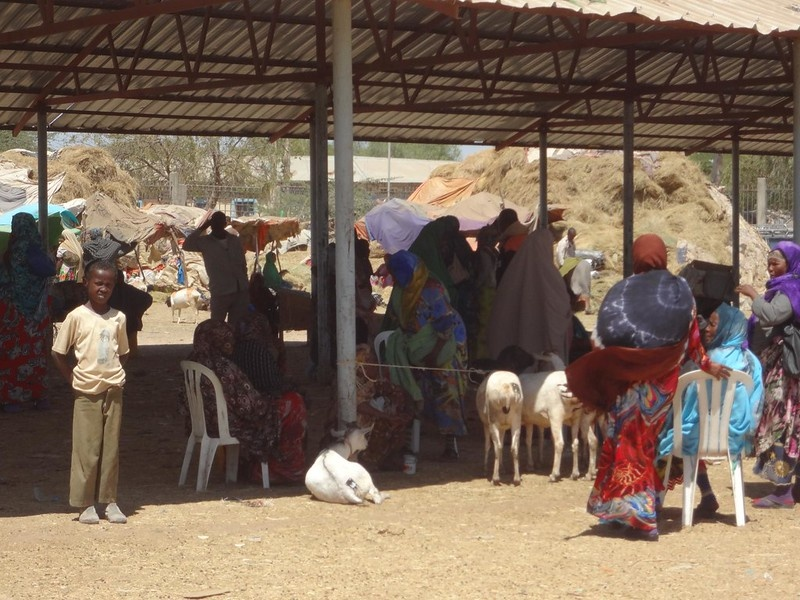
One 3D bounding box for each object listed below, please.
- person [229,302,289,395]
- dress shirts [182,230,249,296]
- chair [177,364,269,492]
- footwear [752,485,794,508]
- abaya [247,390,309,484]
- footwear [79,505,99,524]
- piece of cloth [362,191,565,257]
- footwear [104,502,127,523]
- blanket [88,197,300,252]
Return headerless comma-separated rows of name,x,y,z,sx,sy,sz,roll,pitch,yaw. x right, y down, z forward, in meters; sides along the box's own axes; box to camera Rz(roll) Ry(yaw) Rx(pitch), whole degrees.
person,-1.595,0.460,14.332,0.458,1.484,0.444,4,36,8
dress shirts,-2.518,-0.513,17.981,0.924,1.017,0.536,-5,-15,-34
chair,-1.961,1.355,13.823,0.905,1.417,0.574,-3,13,-13
footwear,3.863,2.058,13.259,0.443,0.357,0.188,3,-5,8
abaya,-1.400,1.543,14.215,0.673,1.074,0.567,7,15,6
footwear,-3.058,2.144,12.610,0.190,0.227,0.131,1,-3,-1
piece of cloth,0.912,-1.749,28.931,3.483,0.964,3.001,-7,-11,-16
footwear,-2.804,2.134,12.681,0.126,0.125,0.252,0,-3,-28
blanket,-4.960,-1.800,30.281,3.376,1.242,2.040,11,-13,-42
